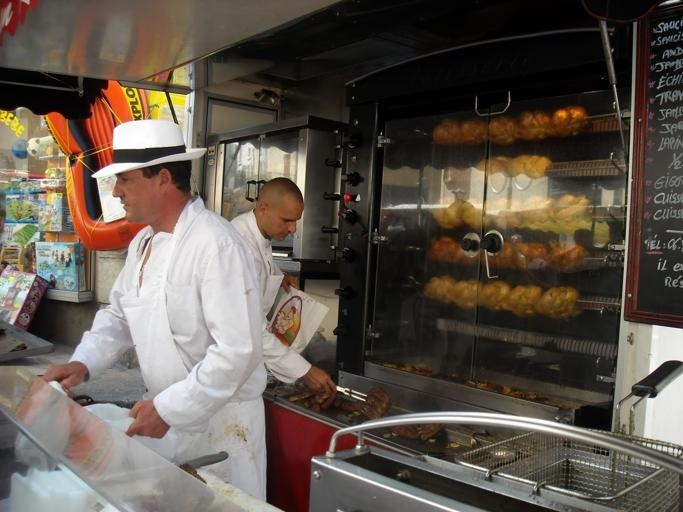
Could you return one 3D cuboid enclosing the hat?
[{"bbox_3d":[-0.859,-0.434,2.394,0.377,0.150,0.333,-14,13,3],"label":"hat"}]

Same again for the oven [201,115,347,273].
[{"bbox_3d":[-0.625,-0.602,4.872,1.421,1.180,0.507,7,5,43],"label":"oven"}]

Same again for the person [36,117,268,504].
[{"bbox_3d":[-0.832,0.336,2.465,0.943,1.942,0.775,1,4,-3],"label":"person"}]
